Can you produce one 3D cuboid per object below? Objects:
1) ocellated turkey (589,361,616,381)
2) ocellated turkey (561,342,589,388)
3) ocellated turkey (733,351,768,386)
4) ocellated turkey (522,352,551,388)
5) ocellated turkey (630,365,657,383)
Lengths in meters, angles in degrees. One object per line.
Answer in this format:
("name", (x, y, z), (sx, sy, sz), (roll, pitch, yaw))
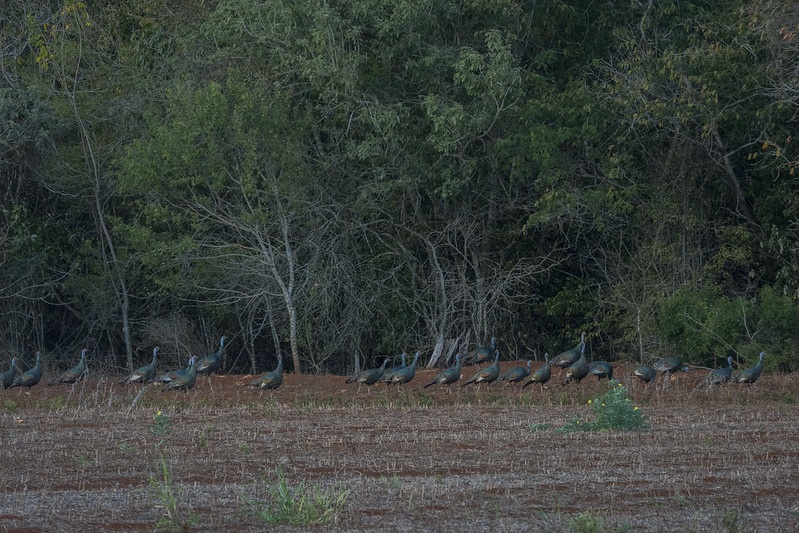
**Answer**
("ocellated turkey", (6.298, 3.290, 50.121), (0.759, 0.706, 1.190), (1, 14, 8))
("ocellated turkey", (5.491, 3.187, 50.075), (0.791, 0.960, 1.312), (1, 14, 6))
("ocellated turkey", (10.874, 3.186, 49.691), (0.722, 0.868, 1.519), (6, 15, 23))
("ocellated turkey", (4.275, 3.271, 49.725), (0.763, 1.013, 1.352), (2, 14, 9))
("ocellated turkey", (7.539, 3.365, 49.480), (0.659, 0.693, 0.951), (1, 14, 6))
